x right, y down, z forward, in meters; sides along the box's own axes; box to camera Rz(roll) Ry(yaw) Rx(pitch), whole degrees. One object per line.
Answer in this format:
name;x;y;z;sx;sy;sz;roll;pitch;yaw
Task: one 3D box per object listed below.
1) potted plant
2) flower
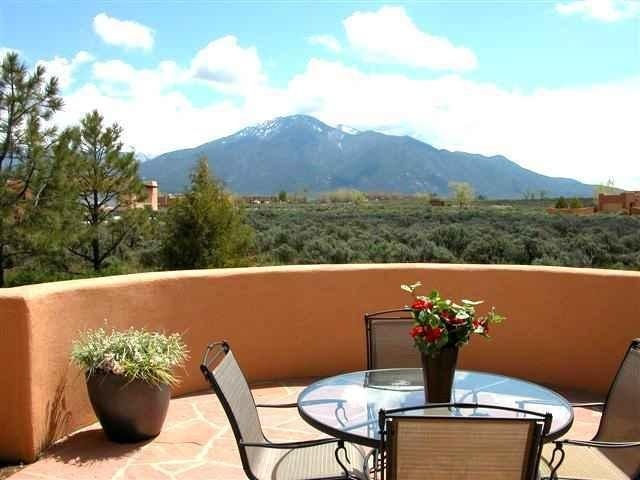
potted plant;-1.550;1.151;4.597;0.731;0.913;0.796;1;4;2
flower;0.839;0.555;3.439;0.653;0.403;0.611;-5;-24;36
